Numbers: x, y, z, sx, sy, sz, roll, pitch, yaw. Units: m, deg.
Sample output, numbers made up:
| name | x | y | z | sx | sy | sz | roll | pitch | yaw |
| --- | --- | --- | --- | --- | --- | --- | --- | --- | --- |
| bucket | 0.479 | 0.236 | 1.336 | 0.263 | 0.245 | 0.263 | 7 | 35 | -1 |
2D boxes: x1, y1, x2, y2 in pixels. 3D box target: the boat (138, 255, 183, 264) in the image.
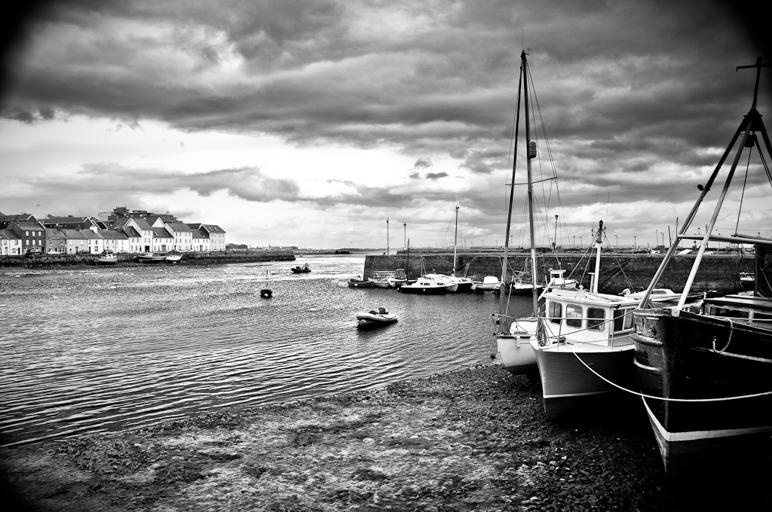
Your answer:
| name | x | y | z | sx | sy | sz | roll | pitch | yaw |
| --- | --- | --- | --- | --- | --- | --- | --- | --- | --- |
| boat | -42.913 | 0.526 | 120.840 | 7.563 | 1.622 | 5.632 | -2 | 3 | -37 |

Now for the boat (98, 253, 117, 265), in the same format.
| name | x | y | z | sx | sy | sz | roll | pitch | yaw |
| --- | --- | --- | --- | --- | --- | --- | --- | --- | --- |
| boat | -48.845 | 0.526 | 111.303 | 2.850 | 1.634 | 4.213 | -1 | 3 | -18 |

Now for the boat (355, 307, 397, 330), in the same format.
| name | x | y | z | sx | sy | sz | roll | pitch | yaw |
| --- | --- | --- | --- | --- | --- | --- | --- | --- | --- |
| boat | -0.746 | 3.795 | 39.682 | 1.535 | 0.973 | 3.363 | 1 | 3 | 29 |

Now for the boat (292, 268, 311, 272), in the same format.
| name | x | y | z | sx | sy | sz | roll | pitch | yaw |
| --- | --- | --- | --- | --- | --- | --- | --- | --- | --- |
| boat | -14.243 | 2.030 | 104.899 | 2.154 | 0.977 | 1.221 | 1 | -2 | -11 |
